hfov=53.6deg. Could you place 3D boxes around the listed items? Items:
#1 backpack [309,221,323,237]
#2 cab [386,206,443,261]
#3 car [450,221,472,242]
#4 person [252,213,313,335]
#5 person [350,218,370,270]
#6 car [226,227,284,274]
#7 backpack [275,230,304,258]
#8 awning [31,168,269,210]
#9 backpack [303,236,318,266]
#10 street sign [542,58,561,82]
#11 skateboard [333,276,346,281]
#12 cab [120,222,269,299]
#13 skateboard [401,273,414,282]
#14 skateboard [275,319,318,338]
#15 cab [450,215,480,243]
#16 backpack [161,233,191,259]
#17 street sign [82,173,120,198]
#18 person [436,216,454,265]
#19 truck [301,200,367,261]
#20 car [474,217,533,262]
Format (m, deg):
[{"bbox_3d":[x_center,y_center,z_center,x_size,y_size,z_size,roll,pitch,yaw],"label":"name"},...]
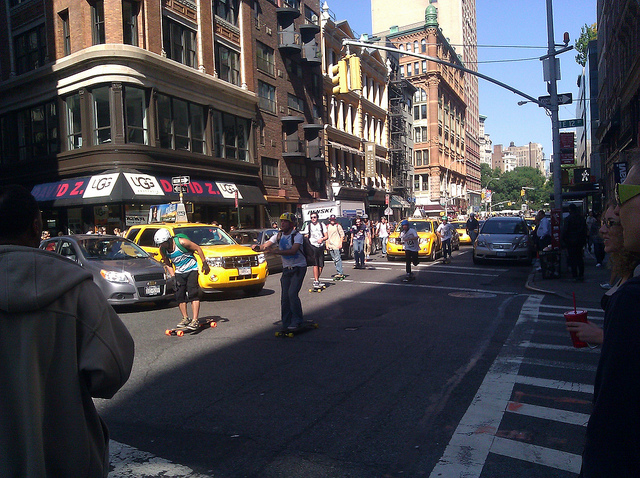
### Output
[{"bbox_3d":[-0.139,-0.263,18.341,0.263,0.388,0.381,-4,-29,-2],"label":"backpack"},{"bbox_3d":[4.054,-0.206,25.596,1.940,2.163,3.899,1,5,25],"label":"cab"},{"bbox_3d":[8.059,-0.431,36.401,1.266,1.054,3.089,-2,-3,15],"label":"car"},{"bbox_3d":[-0.607,0.540,10.412,1.020,1.930,0.747,1,-4,-30],"label":"person"},{"bbox_3d":[1.328,0.157,21.418,0.463,1.619,1.316,-4,4,3],"label":"person"},{"bbox_3d":[-1.869,0.370,19.304,1.214,1.132,2.226,-2,-3,27],"label":"car"},{"bbox_3d":[-0.550,0.085,10.683,0.374,0.584,0.387,-3,1,-4],"label":"backpack"},{"bbox_3d":[-7.567,-2.119,29.360,6.834,1.972,12.039,-3,4,24],"label":"awning"},{"bbox_3d":[-0.194,0.210,10.486,0.122,0.402,0.270,-13,2,-10],"label":"backpack"},{"bbox_3d":[6.556,-4.789,17.971,0.420,0.634,0.592,-3,4,20],"label":"street sign"},{"bbox_3d":[0.523,1.105,17.934,0.316,0.082,0.776,-5,4,2],"label":"skateboard"},{"bbox_3d":[-3.108,0.420,15.475,3.527,1.615,1.733,-3,0,45],"label":"cab"},{"bbox_3d":[2.396,1.036,17.286,0.135,0.287,0.424,-3,-9,29],"label":"skateboard"},{"bbox_3d":[-0.323,1.437,10.372,0.225,0.086,0.809,2,3,22],"label":"skateboard"},{"bbox_3d":[8.264,-0.500,37.356,1.627,1.322,3.801,-2,-1,15],"label":"cab"},{"bbox_3d":[-2.384,0.135,10.413,0.281,0.405,0.402,-12,-25,44],"label":"backpack"},{"bbox_3d":[-8.126,-1.952,23.579,1.104,0.765,0.017,-1,-31,39],"label":"street sign"},{"bbox_3d":[4.599,0.092,23.009,0.425,1.553,1.671,-4,4,12],"label":"person"},{"bbox_3d":[0.163,-0.488,30.753,1.798,2.821,5.623,-5,8,2],"label":"truck"},{"bbox_3d":[6.198,0.020,21.562,1.805,1.420,2.196,-3,4,21],"label":"car"}]
